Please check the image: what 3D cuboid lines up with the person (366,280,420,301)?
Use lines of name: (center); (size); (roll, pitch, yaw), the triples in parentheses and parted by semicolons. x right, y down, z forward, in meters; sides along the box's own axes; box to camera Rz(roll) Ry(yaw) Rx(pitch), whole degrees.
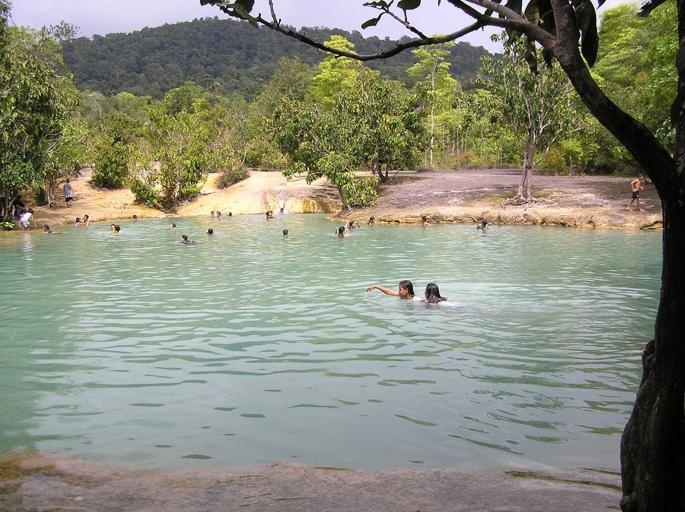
person: (1.498, 0.932, 15.327); (1.012, 0.346, 0.653); (1, 8, 3)
